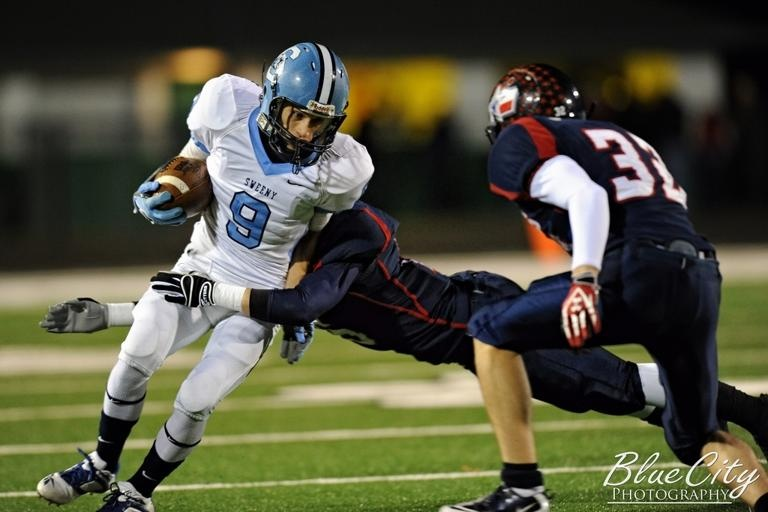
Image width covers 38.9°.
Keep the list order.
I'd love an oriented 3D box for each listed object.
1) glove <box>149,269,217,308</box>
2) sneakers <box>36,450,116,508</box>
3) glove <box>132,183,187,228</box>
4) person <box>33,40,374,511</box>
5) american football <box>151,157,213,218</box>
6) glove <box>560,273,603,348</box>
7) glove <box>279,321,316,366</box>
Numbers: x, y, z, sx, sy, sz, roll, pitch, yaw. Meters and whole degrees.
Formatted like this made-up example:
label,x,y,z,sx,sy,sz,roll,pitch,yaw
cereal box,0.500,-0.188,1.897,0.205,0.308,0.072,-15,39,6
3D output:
label,x,y,z,sx,sy,sz,roll,pitch,yaw
glove,-1.105,0.169,5.940,0.408,0.150,0.214,5,26,-41
sneakers,-1.657,1.192,6.034,0.468,0.246,0.204,-9,57,-55
glove,-1.244,-0.311,6.023,0.286,0.208,0.103,33,41,14
person,-0.907,0.090,6.091,1.605,2.572,0.528,0,7,-20
american football,-1.097,-0.398,6.020,0.290,0.216,0.353,-7,2,11
glove,1.018,0.281,5.616,0.228,0.354,0.143,2,2,4
glove,-0.488,0.529,6.312,0.083,0.263,0.194,3,49,-37
